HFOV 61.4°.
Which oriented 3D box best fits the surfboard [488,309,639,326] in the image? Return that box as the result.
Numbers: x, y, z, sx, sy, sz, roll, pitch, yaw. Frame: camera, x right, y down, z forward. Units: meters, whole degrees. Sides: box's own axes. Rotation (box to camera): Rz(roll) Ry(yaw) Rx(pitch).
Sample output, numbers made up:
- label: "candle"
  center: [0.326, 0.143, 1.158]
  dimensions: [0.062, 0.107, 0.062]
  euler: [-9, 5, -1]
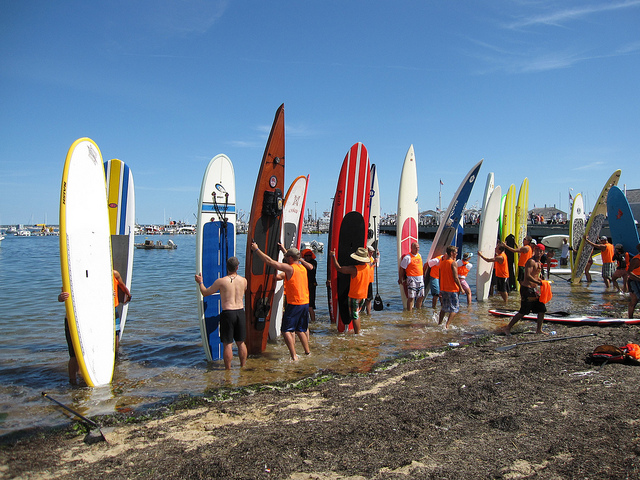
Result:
- label: "surfboard"
  center: [4.671, 1.500, 10.319]
  dimensions: [1.713, 0.209, 0.419]
  euler: [1, -3, 20]

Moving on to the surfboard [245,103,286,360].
- label: "surfboard"
  center: [-0.868, 0.160, 8.795]
  dimensions: [0.583, 4.084, 0.599]
  euler: [7, -8, -30]

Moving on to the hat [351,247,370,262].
- label: "hat"
  center: [0.722, 0.279, 9.496]
  dimensions: [0.324, 0.283, 0.207]
  euler: [-3, 10, -6]

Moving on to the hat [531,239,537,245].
- label: "hat"
  center: [5.246, 0.043, 13.235]
  dimensions: [0.126, 0.150, 0.135]
  euler: [2, 2, 10]

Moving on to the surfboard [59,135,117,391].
- label: "surfboard"
  center: [-3.168, 0.361, 7.466]
  dimensions: [0.329, 3.455, 1.183]
  euler: [-1, 9, 5]

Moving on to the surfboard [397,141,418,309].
- label: "surfboard"
  center: [1.965, -0.138, 12.077]
  dimensions: [0.514, 3.770, 0.362]
  euler: [2, -5, -11]

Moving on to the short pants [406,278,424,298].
- label: "short pants"
  center: [2.119, 1.092, 11.960]
  dimensions: [0.512, 0.546, 0.310]
  euler: [3, -11, -38]

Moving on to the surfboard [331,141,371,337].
- label: "surfboard"
  center: [0.703, -0.052, 10.571]
  dimensions: [0.653, 3.764, 0.407]
  euler: [-11, -39, 16]

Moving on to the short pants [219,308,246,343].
- label: "short pants"
  center: [-1.272, 1.256, 7.908]
  dimensions: [0.370, 0.518, 0.187]
  euler: [-6, 10, -19]

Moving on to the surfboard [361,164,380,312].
- label: "surfboard"
  center: [1.026, -0.074, 11.197]
  dimensions: [0.315, 3.469, 0.269]
  euler: [3, -6, -12]

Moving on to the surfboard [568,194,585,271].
- label: "surfboard"
  center: [7.517, -0.130, 15.803]
  dimensions: [0.428, 2.588, 0.191]
  euler: [7, -1, 6]

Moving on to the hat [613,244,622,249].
- label: "hat"
  center: [7.050, 0.133, 12.775]
  dimensions: [0.105, 0.086, 0.136]
  euler: [26, 1, -31]

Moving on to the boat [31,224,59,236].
- label: "boat"
  center: [-57.935, -1.998, 113.668]
  dimensions: [3.357, 1.388, 2.595]
  euler: [2, -2, 11]

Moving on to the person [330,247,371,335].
- label: "person"
  center: [0.607, 0.941, 9.830]
  dimensions: [0.631, 1.700, 0.767]
  euler: [-4, 9, -11]

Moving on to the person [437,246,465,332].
- label: "person"
  center: [2.477, 0.896, 10.248]
  dimensions: [0.441, 1.662, 0.865]
  euler: [0, 10, 15]

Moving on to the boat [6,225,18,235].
- label: "boat"
  center: [-75.187, -2.328, 131.846]
  dimensions: [1.538, 2.549, 5.596]
  euler: [1, -10, -14]

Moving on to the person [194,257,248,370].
- label: "person"
  center: [-1.386, 1.117, 7.944]
  dimensions: [0.635, 1.699, 0.367]
  euler: [-3, 9, -8]

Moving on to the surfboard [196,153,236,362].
- label: "surfboard"
  center: [-1.527, 0.216, 8.570]
  dimensions: [0.681, 3.996, 0.412]
  euler: [0, -36, -13]

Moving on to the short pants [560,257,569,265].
- label: "short pants"
  center: [8.963, 0.792, 19.873]
  dimensions: [0.308, 0.378, 0.195]
  euler: [1, -9, 16]

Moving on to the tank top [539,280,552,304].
- label: "tank top"
  center: [3.812, 0.890, 9.217]
  dimensions: [0.253, 0.409, 0.133]
  euler: [3, -6, -21]

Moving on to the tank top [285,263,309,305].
- label: "tank top"
  center: [-0.357, 0.675, 8.454]
  dimensions: [0.327, 0.662, 0.426]
  euler: [-7, -7, 38]

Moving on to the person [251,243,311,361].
- label: "person"
  center: [-0.486, 1.027, 8.446]
  dimensions: [0.694, 1.758, 0.418]
  euler: [-5, 9, -15]

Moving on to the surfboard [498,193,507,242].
- label: "surfboard"
  center: [4.729, -0.590, 14.003]
  dimensions: [0.248, 1.245, 0.119]
  euler: [1, 1, -38]

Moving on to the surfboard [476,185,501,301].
- label: "surfboard"
  center: [4.181, 0.196, 13.314]
  dimensions: [0.424, 2.872, 0.292]
  euler: [5, -5, 9]

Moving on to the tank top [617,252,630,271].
- label: "tank top"
  center: [6.847, 0.485, 12.205]
  dimensions: [0.236, 0.369, 0.367]
  euler: [-2, -23, 14]

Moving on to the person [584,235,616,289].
- label: "person"
  center: [8.008, 0.657, 15.488]
  dimensions: [0.736, 2.218, 1.140]
  euler: [-1, 5, 42]

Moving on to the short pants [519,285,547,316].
- label: "short pants"
  center: [3.674, 1.016, 9.303]
  dimensions: [0.407, 0.587, 0.454]
  euler: [-4, -1, 26]

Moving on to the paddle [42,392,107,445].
- label: "paddle"
  center: [-3.161, 2.206, 6.935]
  dimensions: [1.830, 0.212, 0.304]
  euler: [4, 36, 42]

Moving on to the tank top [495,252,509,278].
- label: "tank top"
  center: [4.389, 0.598, 13.071]
  dimensions: [0.294, 0.659, 0.934]
  euler: [1, 11, 18]

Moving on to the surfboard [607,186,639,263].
- label: "surfboard"
  center: [7.572, -0.504, 13.517]
  dimensions: [0.560, 1.564, 1.788]
  euler: [2, 11, 22]

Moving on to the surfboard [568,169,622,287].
- label: "surfboard"
  center: [7.615, -0.010, 14.925]
  dimensions: [0.316, 3.546, 0.474]
  euler: [11, 34, 10]

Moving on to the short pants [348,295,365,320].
- label: "short pants"
  center: [0.658, 1.216, 9.637]
  dimensions: [0.232, 0.431, 0.253]
  euler: [-3, 10, -2]

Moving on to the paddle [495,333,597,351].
- label: "paddle"
  center: [3.479, 1.658, 8.731]
  dimensions: [1.575, 0.057, 0.235]
  euler: [-6, 12, -18]

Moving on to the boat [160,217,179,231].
- label: "boat"
  center: [-34.762, -2.976, 125.626]
  dimensions: [2.231, 4.047, 7.528]
  euler: [1, -4, -31]

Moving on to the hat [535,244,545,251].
- label: "hat"
  center: [5.018, 0.163, 12.316]
  dimensions: [0.197, 0.144, 0.211]
  euler: [16, 7, 17]

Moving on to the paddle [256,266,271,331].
- label: "paddle"
  center: [-0.935, 0.979, 8.966]
  dimensions: [0.123, 0.984, 0.442]
  euler: [1, 10, 18]

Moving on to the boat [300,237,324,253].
- label: "boat"
  center: [-0.412, 0.260, 36.689]
  dimensions: [0.945, 1.287, 3.440]
  euler: [-1, -5, 6]

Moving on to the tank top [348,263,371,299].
- label: "tank top"
  center: [0.735, 0.721, 9.588]
  dimensions: [0.452, 0.632, 0.294]
  euler: [-5, 10, -17]

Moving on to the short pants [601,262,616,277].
- label: "short pants"
  center: [7.651, 0.760, 14.332]
  dimensions: [0.276, 0.442, 0.559]
  euler: [3, 12, 28]
